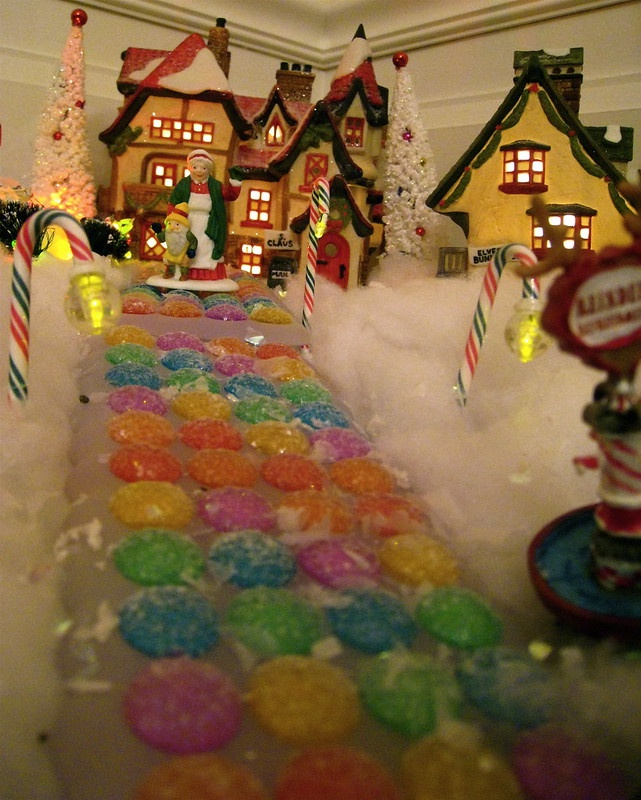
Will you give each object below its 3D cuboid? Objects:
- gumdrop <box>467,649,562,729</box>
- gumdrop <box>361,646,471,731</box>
[{"bbox_3d":[0.219,0.343,0.736,0.076,0.027,0.099,-8,24,0],"label":"gumdrop"},{"bbox_3d":[0.153,0.363,0.800,0.117,0.045,0.149,-7,22,-22],"label":"gumdrop"}]
